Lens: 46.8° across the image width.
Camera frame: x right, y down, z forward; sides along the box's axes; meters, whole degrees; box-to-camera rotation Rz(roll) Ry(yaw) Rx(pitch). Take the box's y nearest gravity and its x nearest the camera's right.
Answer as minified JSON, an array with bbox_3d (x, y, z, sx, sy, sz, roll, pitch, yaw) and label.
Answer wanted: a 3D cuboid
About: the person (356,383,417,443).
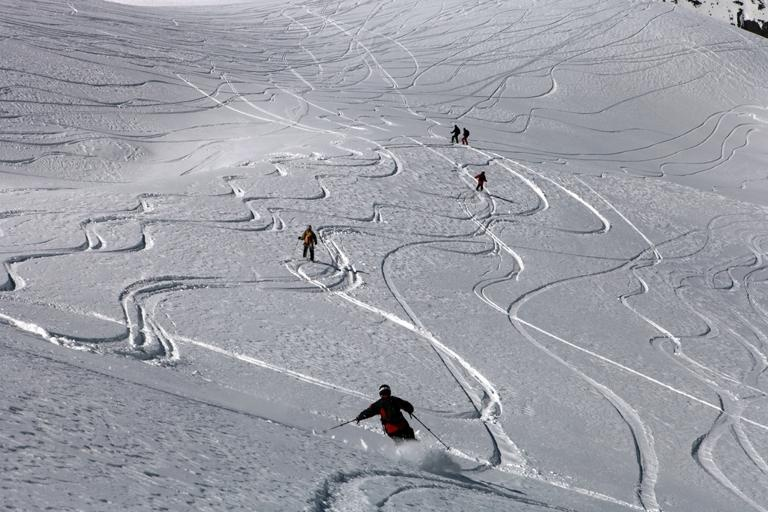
[{"bbox_3d":[0.336,4.692,25.487,1.760,1.590,1.132,27,49,19],"label":"person"}]
